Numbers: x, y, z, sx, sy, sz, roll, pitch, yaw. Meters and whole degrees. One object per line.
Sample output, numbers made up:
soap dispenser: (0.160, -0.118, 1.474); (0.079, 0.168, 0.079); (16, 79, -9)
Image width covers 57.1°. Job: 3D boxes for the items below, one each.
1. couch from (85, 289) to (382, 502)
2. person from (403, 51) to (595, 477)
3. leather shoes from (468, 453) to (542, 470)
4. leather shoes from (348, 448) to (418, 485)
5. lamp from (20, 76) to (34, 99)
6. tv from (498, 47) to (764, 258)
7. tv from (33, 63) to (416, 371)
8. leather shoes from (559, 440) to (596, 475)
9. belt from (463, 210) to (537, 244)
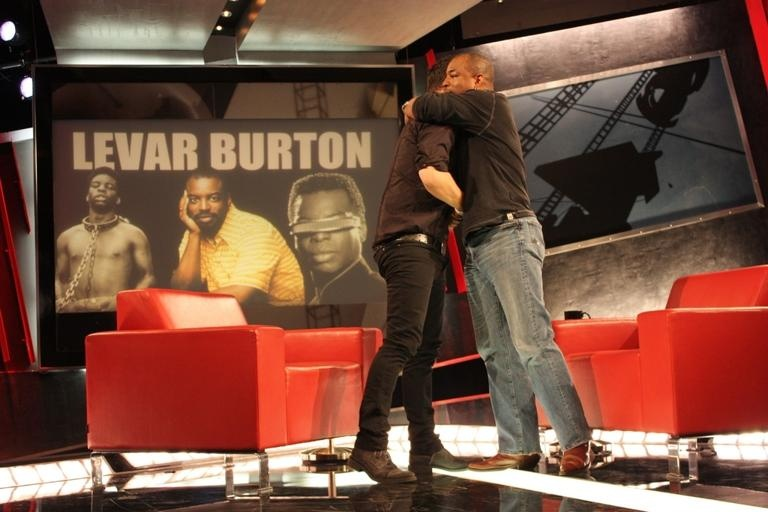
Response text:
couch: (-0.816, 0.726, 4.256); (1.320, 1.047, 1.613); (-3, -5, 23)
person: (0.636, 0.014, 3.847); (0.833, 2.332, 0.386); (-3, -5, 8)
leather shoes: (0.662, 1.108, 3.881); (0.397, 0.137, 0.132); (2, -10, 1)
leather shoes: (-0.012, 1.066, 3.670); (0.391, 0.155, 0.152); (10, -5, 33)
lamp: (-2.662, -1.248, 5.240); (0.137, 0.158, 0.041); (3, 4, -4)
tv: (1.895, -0.766, 5.580); (1.942, 1.148, 0.063); (-9, -7, -9)
tv: (-1.204, -0.308, 5.320); (2.853, 1.762, 0.035); (-4, -10, 0)
leather shoes: (1.016, 1.058, 3.768); (0.111, 0.091, 0.281); (-3, 6, 30)
belt: (0.585, -0.172, 3.791); (0.249, 0.056, 0.188); (-18, -1, 0)
